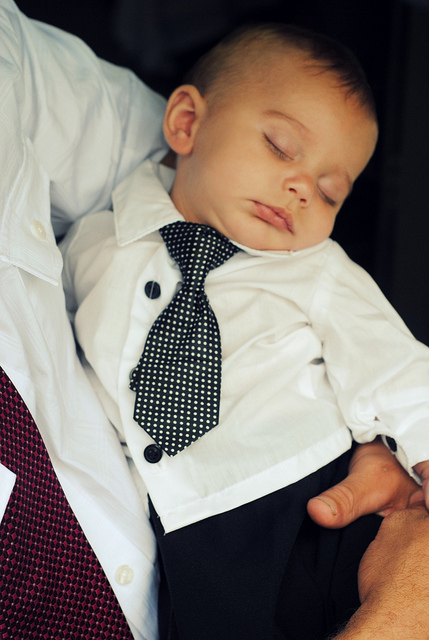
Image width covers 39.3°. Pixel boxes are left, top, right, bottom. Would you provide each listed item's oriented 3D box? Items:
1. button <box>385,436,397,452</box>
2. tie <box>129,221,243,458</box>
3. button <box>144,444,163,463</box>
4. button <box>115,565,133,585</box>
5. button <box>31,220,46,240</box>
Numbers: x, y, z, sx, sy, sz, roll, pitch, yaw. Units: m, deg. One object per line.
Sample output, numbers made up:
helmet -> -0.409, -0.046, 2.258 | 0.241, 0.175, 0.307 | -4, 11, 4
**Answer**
button -> 0.250, 0.177, 0.851 | 0.006, 0.013, 0.019 | 0, 44, -23
tie -> -0.042, 0.029, 0.858 | 0.133, 0.032, 0.315 | 11, 69, -6
button -> -0.084, 0.180, 0.810 | 0.021, 0.016, 0.021 | 16, 42, 30
button -> -0.113, 0.317, 0.747 | 0.020, 0.004, 0.019 | 25, 54, -23
button -> -0.201, -0.103, 0.684 | 0.005, 0.020, 0.020 | -19, -4, 16
